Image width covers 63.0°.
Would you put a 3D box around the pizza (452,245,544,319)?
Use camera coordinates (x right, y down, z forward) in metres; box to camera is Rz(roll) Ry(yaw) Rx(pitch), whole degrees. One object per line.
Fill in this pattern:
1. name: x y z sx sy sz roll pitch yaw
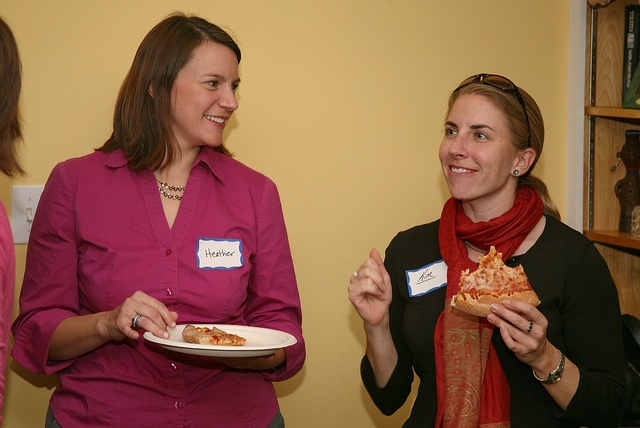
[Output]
1. pizza: 0.626 0.237 1.890 0.241 0.093 0.260 -16 30 19

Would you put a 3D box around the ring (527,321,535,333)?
1. ring: 0.701 0.378 1.743 0.011 0.034 0.028 12 -5 -1

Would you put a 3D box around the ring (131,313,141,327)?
1. ring: -0.636 0.367 1.804 0.034 0.037 0.029 8 2 -39
